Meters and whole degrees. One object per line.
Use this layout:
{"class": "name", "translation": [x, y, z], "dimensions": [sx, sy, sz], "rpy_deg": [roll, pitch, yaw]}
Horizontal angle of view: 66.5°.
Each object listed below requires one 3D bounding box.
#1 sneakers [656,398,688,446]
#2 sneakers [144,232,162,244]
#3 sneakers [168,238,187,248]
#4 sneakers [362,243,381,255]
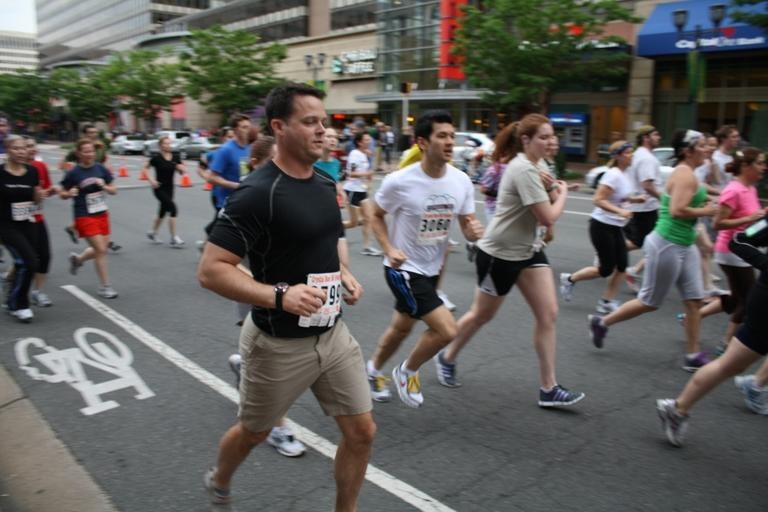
{"class": "sneakers", "translation": [2.171, 1.235, 4.404], "dimensions": [0.218, 0.346, 0.166], "rpy_deg": [8, 21, 29]}
{"class": "sneakers", "translation": [-4.664, -0.369, 11.697], "dimensions": [0.372, 0.144, 0.116], "rpy_deg": [25, 22, 8]}
{"class": "sneakers", "translation": [-4.026, -0.271, 11.285], "dimensions": [0.400, 0.144, 0.144], "rpy_deg": [1, 6, 43]}
{"class": "sneakers", "translation": [-0.219, -0.112, 10.689], "dimensions": [0.367, 0.125, 0.149], "rpy_deg": [0, 4, 9]}
